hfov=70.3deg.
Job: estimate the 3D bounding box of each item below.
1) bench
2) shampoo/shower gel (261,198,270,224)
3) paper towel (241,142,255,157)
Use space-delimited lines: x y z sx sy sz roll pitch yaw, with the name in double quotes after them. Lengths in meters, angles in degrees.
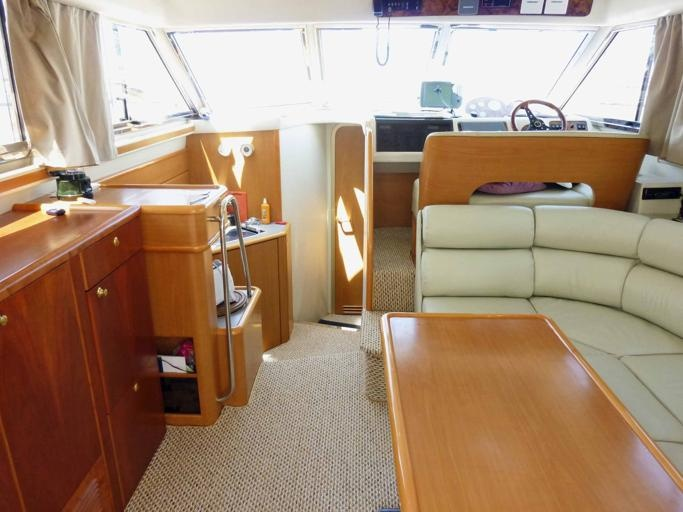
1.181 -0.320 3.092 1.296 0.951 0.151 0 25 -2 "bench"
-0.643 -0.388 4.108 0.084 0.186 0.141 -3 25 -7 "shampoo/shower gel"
-0.766 -0.893 4.052 0.111 0.163 0.084 1 19 3 "paper towel"
